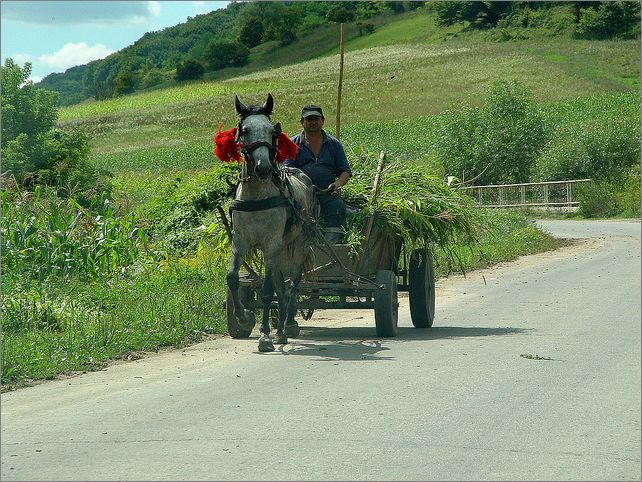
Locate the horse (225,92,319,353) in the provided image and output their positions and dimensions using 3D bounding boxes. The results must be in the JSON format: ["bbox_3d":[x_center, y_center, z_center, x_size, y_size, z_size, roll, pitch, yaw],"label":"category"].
[{"bbox_3d":[-2.012,-0.815,54.610,3.460,9.659,1.501,-8,8,-6],"label":"horse"}]
